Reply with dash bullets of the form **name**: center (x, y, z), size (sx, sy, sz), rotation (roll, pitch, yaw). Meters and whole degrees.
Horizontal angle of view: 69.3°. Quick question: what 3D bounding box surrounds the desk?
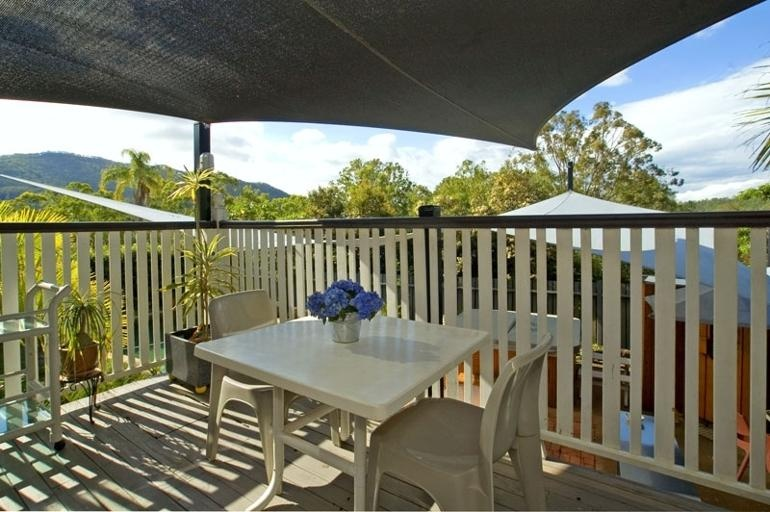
- **desk**: center (-0.306, 0.759, 3.737), size (1.515, 0.971, 1.534), rotation (3, 6, 38)

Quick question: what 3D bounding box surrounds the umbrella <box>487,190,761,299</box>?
- **umbrella**: center (3.083, -0.305, 7.220), size (2.138, 0.860, 2.189), rotation (6, 5, 6)

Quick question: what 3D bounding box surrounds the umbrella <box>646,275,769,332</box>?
- **umbrella**: center (3.256, 0.490, 5.609), size (1.067, 0.526, 1.097), rotation (1, -4, 20)

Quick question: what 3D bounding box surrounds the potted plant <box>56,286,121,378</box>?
- **potted plant**: center (-2.712, 0.659, 5.045), size (0.419, 0.825, 0.617), rotation (1, -5, -28)

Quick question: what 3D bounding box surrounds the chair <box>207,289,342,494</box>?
- **chair**: center (-0.895, 0.973, 4.472), size (0.926, 1.246, 0.957), rotation (3, 4, 45)

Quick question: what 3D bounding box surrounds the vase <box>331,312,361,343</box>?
- **vase**: center (-0.279, 0.504, 3.960), size (0.204, 0.158, 0.209), rotation (0, -7, 2)

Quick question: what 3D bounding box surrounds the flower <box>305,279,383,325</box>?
- **flower**: center (-0.283, 0.306, 4.013), size (0.463, 0.274, 0.396), rotation (6, 6, -15)

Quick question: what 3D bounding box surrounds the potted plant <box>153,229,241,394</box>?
- **potted plant**: center (-1.838, 0.516, 5.730), size (0.733, 1.624, 0.821), rotation (4, 6, 42)
